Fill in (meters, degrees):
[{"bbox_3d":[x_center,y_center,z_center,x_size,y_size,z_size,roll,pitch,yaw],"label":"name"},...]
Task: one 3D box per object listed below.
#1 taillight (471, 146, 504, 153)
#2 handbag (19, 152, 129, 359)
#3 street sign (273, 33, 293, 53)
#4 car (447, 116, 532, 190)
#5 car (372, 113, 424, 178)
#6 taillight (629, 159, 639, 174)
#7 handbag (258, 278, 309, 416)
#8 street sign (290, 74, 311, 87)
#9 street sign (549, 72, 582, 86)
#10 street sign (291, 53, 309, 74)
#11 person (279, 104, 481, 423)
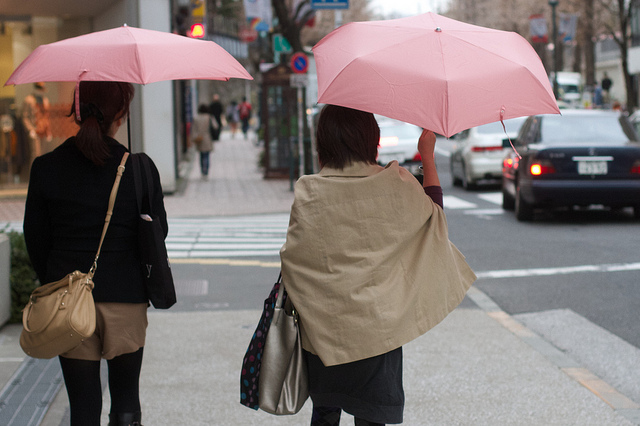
[{"bbox_3d":[3.543,-1.360,18.352,0.688,0.156,0.137,5,15,23],"label":"taillight"},{"bbox_3d":[-1.597,0.331,5.536,0.714,1.158,0.310,-6,13,-18],"label":"handbag"},{"bbox_3d":[-1.002,-4.546,22.960,0.705,0.075,0.807,6,56,-16],"label":"street sign"},{"bbox_3d":[3.644,-1.271,18.834,1.438,1.177,3.385,-1,9,1],"label":"car"},{"bbox_3d":[1.858,-1.817,20.944,1.045,0.880,2.523,0,18,-9],"label":"car"},{"bbox_3d":[4.442,-0.660,12.186,0.108,0.175,0.206,11,18,43],"label":"taillight"},{"bbox_3d":[-0.245,0.871,5.482,0.287,0.828,0.234,-12,16,-41],"label":"handbag"},{"bbox_3d":[-0.506,-3.246,21.021,0.441,0.352,0.068,-2,7,7],"label":"street sign"},{"bbox_3d":[16.464,-8.937,57.181,1.479,0.838,2.818,3,15,16],"label":"street sign"},{"bbox_3d":[-0.528,-3.609,21.033,0.378,0.443,0.406,10,-9,-7],"label":"street sign"},{"bbox_3d":[0.306,0.348,5.543,1.150,2.028,0.641,-2,12,-3],"label":"person"}]
